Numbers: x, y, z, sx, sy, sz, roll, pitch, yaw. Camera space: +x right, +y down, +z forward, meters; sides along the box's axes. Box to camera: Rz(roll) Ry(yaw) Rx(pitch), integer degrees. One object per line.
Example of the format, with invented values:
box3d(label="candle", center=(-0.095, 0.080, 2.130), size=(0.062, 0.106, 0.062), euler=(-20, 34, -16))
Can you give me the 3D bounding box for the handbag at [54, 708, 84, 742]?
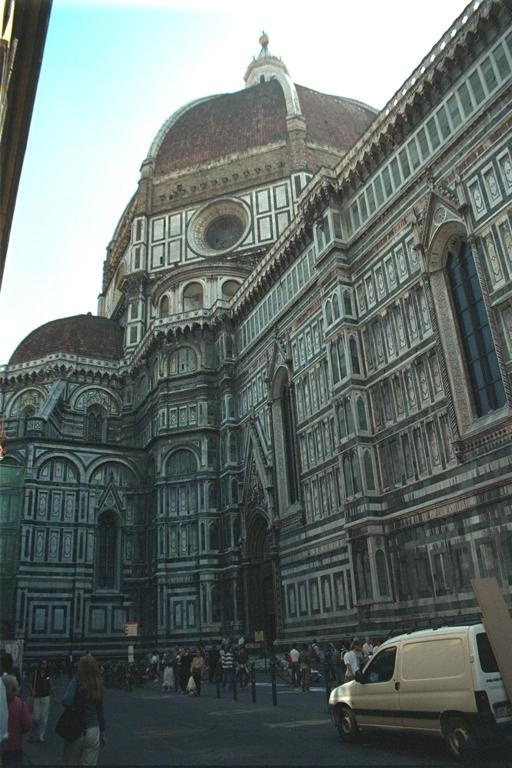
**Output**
box3d(label="handbag", center=(-1.553, 2.860, 4.583), size=(0.216, 0.271, 0.260), euler=(2, -22, -19))
